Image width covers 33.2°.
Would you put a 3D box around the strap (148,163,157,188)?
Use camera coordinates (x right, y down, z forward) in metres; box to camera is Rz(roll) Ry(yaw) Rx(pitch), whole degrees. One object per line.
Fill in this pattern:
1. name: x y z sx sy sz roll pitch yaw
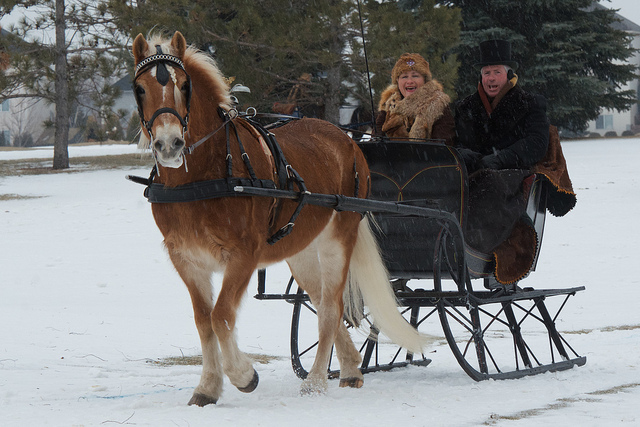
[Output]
1. strap: -3.086 -0.690 19.833 0.118 0.454 0.083 21 -11 -19

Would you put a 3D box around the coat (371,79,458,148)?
1. coat: 1.969 -1.937 22.299 1.817 1.263 0.888 10 -15 12

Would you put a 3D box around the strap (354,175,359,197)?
1. strap: 0.712 -0.522 20.696 0.076 0.401 0.173 1 5 8

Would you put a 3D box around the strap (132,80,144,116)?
1. strap: -3.277 -2.057 19.315 0.267 0.626 0.078 5 7 42

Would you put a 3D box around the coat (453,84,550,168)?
1. coat: 3.660 -1.827 22.133 2.496 1.824 1.626 -1 14 40
